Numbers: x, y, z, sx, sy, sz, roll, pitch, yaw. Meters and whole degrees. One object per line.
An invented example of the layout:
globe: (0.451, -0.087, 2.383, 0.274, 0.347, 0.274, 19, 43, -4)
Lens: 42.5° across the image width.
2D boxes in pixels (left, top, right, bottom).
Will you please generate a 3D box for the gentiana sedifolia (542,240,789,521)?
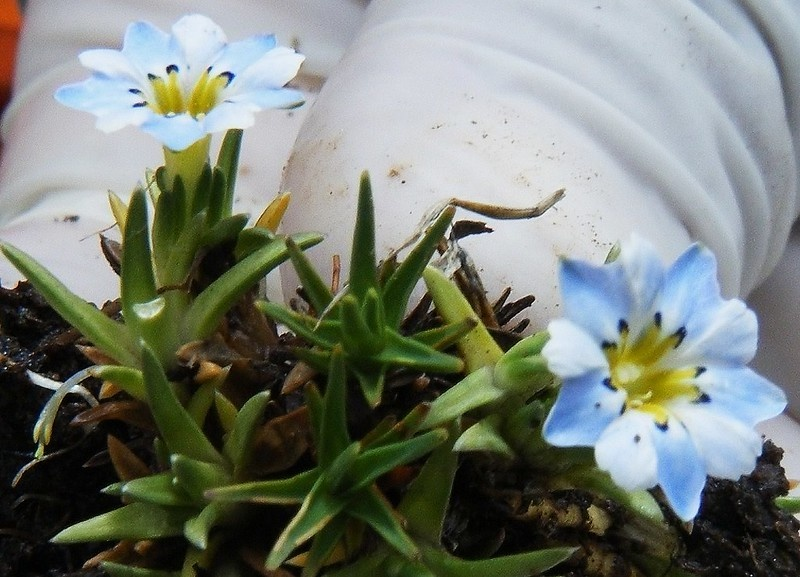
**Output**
gentiana sedifolia: (0.227, 0.038, 0.932, 0.202, 0.263, 0.166, 2, 10, 1)

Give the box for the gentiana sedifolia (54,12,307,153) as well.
gentiana sedifolia: (-0.208, -0.203, 0.998, 0.192, 0.155, 0.179, -9, 17, -22)
